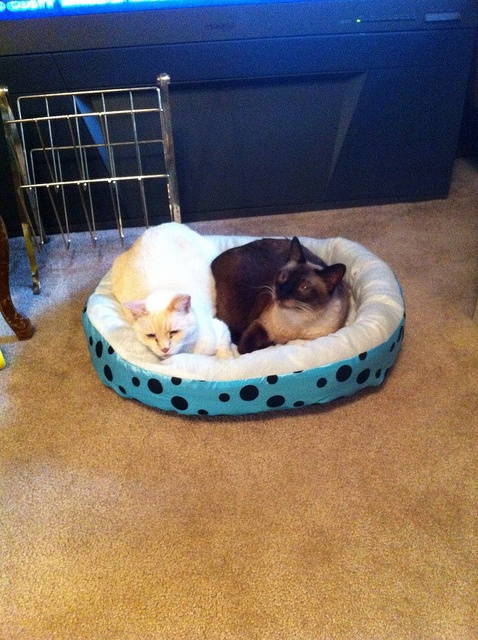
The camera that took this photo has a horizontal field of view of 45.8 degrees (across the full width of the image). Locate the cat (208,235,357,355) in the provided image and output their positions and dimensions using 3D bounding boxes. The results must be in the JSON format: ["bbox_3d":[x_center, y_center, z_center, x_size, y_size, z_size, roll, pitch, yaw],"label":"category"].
[{"bbox_3d":[0.142,-0.082,1.827,0.427,0.303,0.373,3,57,16],"label":"cat"}]
